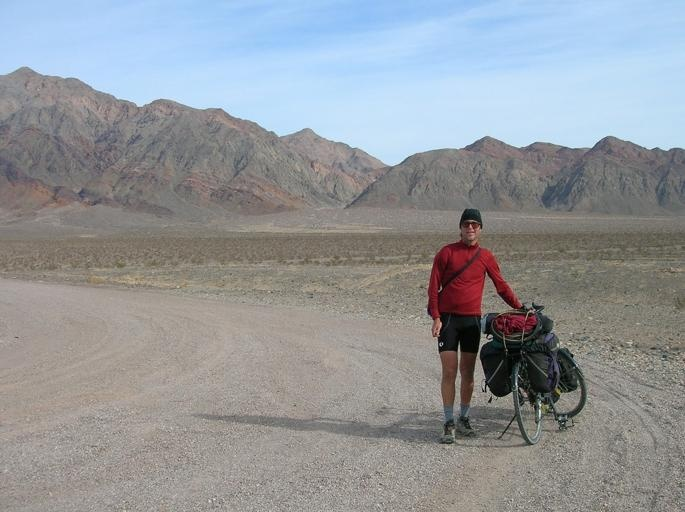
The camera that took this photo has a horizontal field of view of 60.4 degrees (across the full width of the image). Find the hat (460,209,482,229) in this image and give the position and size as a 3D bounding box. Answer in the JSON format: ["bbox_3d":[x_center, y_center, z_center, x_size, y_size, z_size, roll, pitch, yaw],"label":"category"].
[{"bbox_3d":[1.680,-0.519,7.746,0.235,0.245,0.326,2,-20,11],"label":"hat"}]
